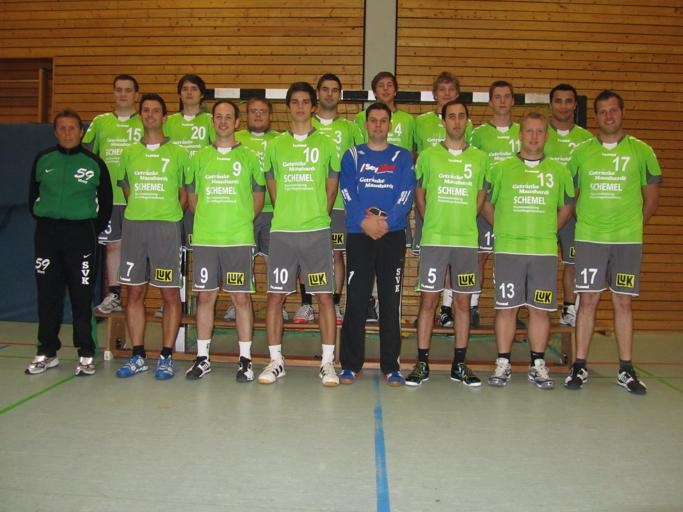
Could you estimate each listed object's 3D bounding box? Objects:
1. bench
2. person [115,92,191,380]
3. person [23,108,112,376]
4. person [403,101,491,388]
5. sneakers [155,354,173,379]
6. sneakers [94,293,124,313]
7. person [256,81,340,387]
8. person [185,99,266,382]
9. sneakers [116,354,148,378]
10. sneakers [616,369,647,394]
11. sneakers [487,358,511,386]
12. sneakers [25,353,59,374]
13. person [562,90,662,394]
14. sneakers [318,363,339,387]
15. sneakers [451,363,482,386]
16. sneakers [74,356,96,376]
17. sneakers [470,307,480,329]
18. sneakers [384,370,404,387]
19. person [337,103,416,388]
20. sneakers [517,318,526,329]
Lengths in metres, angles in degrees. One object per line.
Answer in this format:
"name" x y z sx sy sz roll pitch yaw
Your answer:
"bench" -0.777 1.175 9.152 4.462 0.777 0.630 1 -8 -9
"person" -1.904 -0.217 6.766 0.751 2.789 0.834 -2 12 -13
"person" -2.771 -0.141 6.768 0.811 2.625 0.583 0 11 -7
"person" 1.075 0.032 6.676 0.726 2.477 0.752 2 11 6
"sneakers" -1.776 1.111 6.730 0.170 0.201 0.228 -1 12 -11
"sneakers" -2.587 0.533 7.473 0.132 0.178 0.361 0 -3 9
"person" -0.405 -0.215 6.642 0.776 2.954 0.823 1 11 -1
"person" -1.154 -0.122 6.685 0.794 2.793 0.707 0 11 -6
"sneakers" -2.128 1.125 6.842 0.134 0.158 0.347 -1 -4 14
"sneakers" 2.877 1.238 6.655 0.135 0.139 0.320 -1 2 -8
"sneakers" 1.568 1.170 6.694 0.135 0.179 0.379 1 2 18
"sneakers" -3.067 1.105 6.874 0.131 0.146 0.341 -1 -4 11
"person" 2.684 -0.163 6.683 0.881 2.903 0.860 4 12 16
"sneakers" -0.114 1.161 6.649 0.192 0.200 0.288 0 12 -5
"sneakers" 1.228 1.190 6.688 0.136 0.162 0.367 1 -2 -29
"sneakers" -2.598 1.119 6.830 0.111 0.113 0.281 1 -4 -13
"sneakers" 1.472 0.683 7.400 0.099 0.126 0.295 0 11 5
"sneakers" 0.535 1.208 6.640 0.191 0.126 0.137 2 12 2
"person" 0.335 -0.131 6.654 0.751 2.711 0.656 2 11 4
"sneakers" 2.044 0.774 7.607 0.113 0.110 0.110 3 12 1
